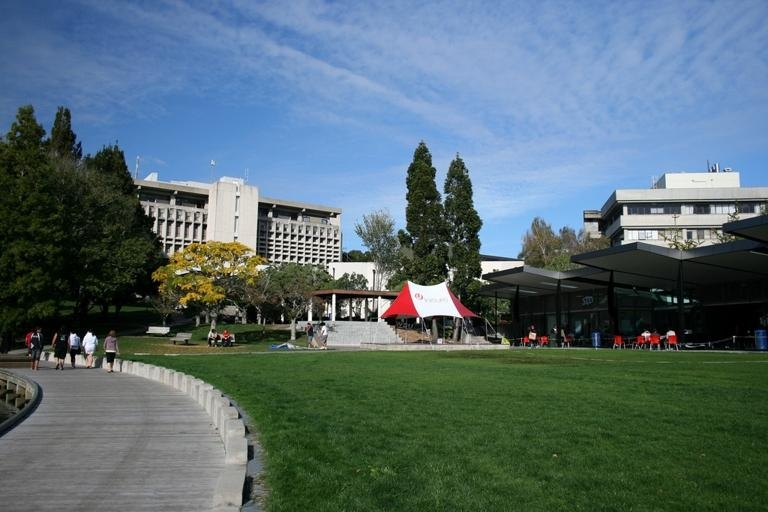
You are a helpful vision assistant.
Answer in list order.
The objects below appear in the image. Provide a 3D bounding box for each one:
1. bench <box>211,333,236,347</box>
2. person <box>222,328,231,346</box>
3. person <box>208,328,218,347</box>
[{"bbox_3d":[-11.212,6.060,38.867,1.956,1.017,1.329,-3,-4,29],"label":"bench"},{"bbox_3d":[-11.010,5.799,38.346,0.686,1.043,1.791,2,-8,-17],"label":"person"},{"bbox_3d":[-11.988,5.765,38.288,0.622,0.996,1.961,2,-8,-17],"label":"person"}]
